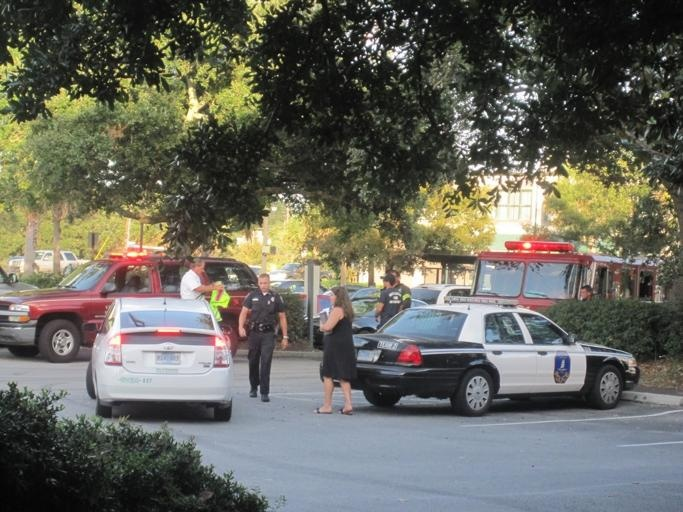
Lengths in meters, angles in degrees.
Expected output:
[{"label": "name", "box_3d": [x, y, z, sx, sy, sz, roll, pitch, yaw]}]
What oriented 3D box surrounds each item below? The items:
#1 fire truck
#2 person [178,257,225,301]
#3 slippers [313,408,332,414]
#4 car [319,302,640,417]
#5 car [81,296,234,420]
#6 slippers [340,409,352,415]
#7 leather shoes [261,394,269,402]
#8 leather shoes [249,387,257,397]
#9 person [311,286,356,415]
[{"label": "fire truck", "box_3d": [6.464, 0.938, 24.374, 3.168, 2.757, 6.751, 1, -1, 35]}, {"label": "person", "box_3d": [-2.833, 0.504, 16.859, 0.674, 1.024, 0.725, 3, 2, -39]}, {"label": "slippers", "box_3d": [-0.304, 2.543, 14.000, 0.204, 0.059, 0.110, 4, -3, 5]}, {"label": "car", "box_3d": [2.897, 1.956, 16.184, 5.936, 2.041, 2.801, 3, -5, -29]}, {"label": "car", "box_3d": [-2.989, 1.639, 14.158, 2.099, 1.816, 3.952, 2, 0, -12]}, {"label": "slippers", "box_3d": [0.081, 2.555, 14.066, 0.210, 0.093, 0.316, 2, -5, 0]}, {"label": "leather shoes", "box_3d": [-1.321, 2.470, 14.934, 0.143, 0.130, 0.251, 2, -5, -6]}, {"label": "leather shoes", "box_3d": [-1.590, 2.461, 15.466, 0.134, 0.162, 0.288, 2, -5, -6]}, {"label": "person", "box_3d": [-0.078, 1.543, 14.242, 0.625, 2.107, 0.652, 2, -4, -1]}]
